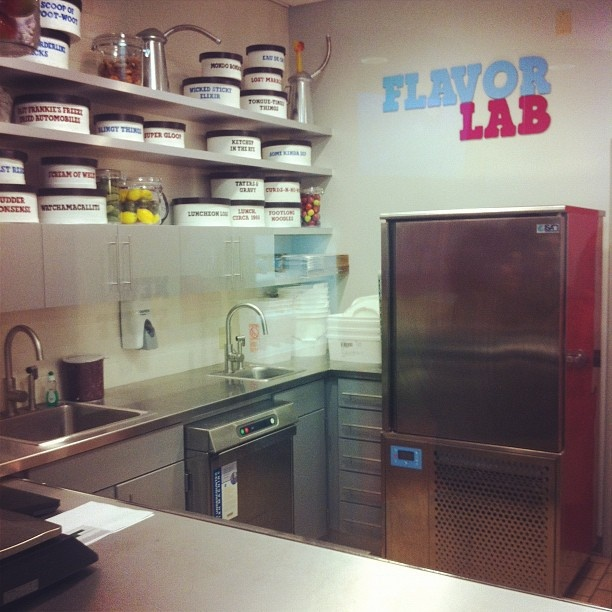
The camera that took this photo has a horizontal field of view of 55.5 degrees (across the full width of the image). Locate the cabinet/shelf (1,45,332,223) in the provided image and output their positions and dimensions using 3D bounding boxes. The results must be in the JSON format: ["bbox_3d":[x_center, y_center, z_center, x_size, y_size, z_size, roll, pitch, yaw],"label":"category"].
[{"bbox_3d":[-0.598,-0.829,2.800,0.336,0.413,1.970,-1,2,33],"label":"cabinet/shelf"}]

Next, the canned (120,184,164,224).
[{"bbox_3d":[-0.714,-0.421,2.553,0.177,0.172,0.174,1,-2,-27],"label":"canned"}]

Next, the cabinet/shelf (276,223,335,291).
[{"bbox_3d":[-0.064,-0.284,3.690,0.356,0.465,0.501,0,2,34],"label":"cabinet/shelf"}]
